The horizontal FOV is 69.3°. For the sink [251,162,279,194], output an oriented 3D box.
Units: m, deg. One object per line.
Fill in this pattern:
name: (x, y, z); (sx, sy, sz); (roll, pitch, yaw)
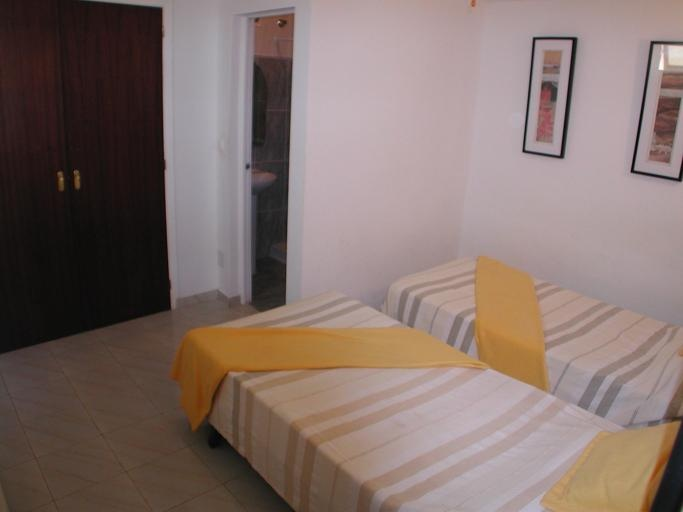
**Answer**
sink: (-0.714, -0.727, 4.614); (0.127, 0.256, 0.307); (8, 18, 18)

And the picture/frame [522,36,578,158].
picture/frame: (1.800, -1.364, 4.258); (0.117, 0.976, 0.425); (-10, 21, -33)
